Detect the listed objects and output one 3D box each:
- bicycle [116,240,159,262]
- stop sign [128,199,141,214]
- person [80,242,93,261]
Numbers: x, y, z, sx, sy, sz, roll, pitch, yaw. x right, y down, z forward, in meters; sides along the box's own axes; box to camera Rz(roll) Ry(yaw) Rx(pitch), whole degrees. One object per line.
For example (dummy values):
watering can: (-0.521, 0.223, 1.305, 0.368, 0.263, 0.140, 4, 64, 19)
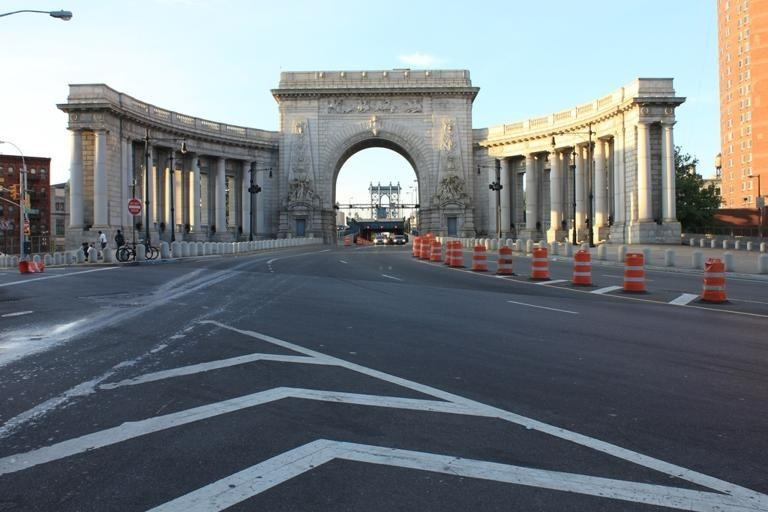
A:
bicycle: (-12.597, -0.330, 40.761, 2.395, 1.383, 1.151, -2, -4, -4)
stop sign: (-12.465, -2.509, 40.909, 0.398, 0.853, 1.237, -1, 13, -7)
person: (-16.592, -0.290, 45.544, 0.848, 0.912, 1.598, -1, -5, -6)
